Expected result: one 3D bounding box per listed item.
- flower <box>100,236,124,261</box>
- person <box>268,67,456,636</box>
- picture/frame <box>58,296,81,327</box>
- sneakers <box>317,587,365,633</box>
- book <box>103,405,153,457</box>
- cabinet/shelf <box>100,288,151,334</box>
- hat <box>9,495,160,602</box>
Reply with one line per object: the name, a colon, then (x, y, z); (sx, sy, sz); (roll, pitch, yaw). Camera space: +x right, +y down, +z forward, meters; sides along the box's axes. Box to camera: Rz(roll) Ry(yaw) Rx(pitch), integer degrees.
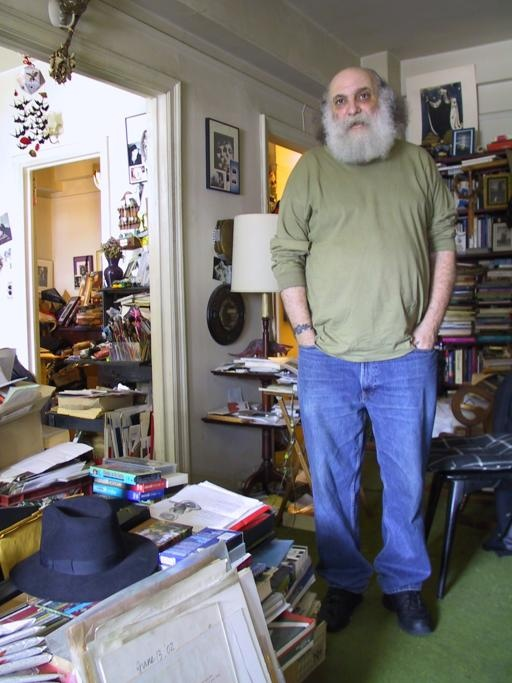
flower: (-1.060, -0.686, 3.993); (0.170, 0.175, 0.170); (6, 12, 15)
person: (0.343, 0.035, 1.775); (0.581, 1.716, 0.321); (1, 0, 19)
picture/frame: (-2.058, -0.331, 5.913); (0.234, 0.256, 0.314); (0, 1, -16)
sneakers: (0.272, 0.878, 1.753); (0.068, 0.084, 0.202); (-2, -11, 24)
book: (-0.755, 0.515, 3.109); (0.056, 0.305, 0.346); (0, -4, 21)
cabinet/shelf: (-0.947, -0.240, 3.815); (0.359, 0.383, 0.286); (3, 7, 21)
hat: (-0.294, 0.330, 0.916); (0.238, 0.105, 0.242); (4, 8, 15)
